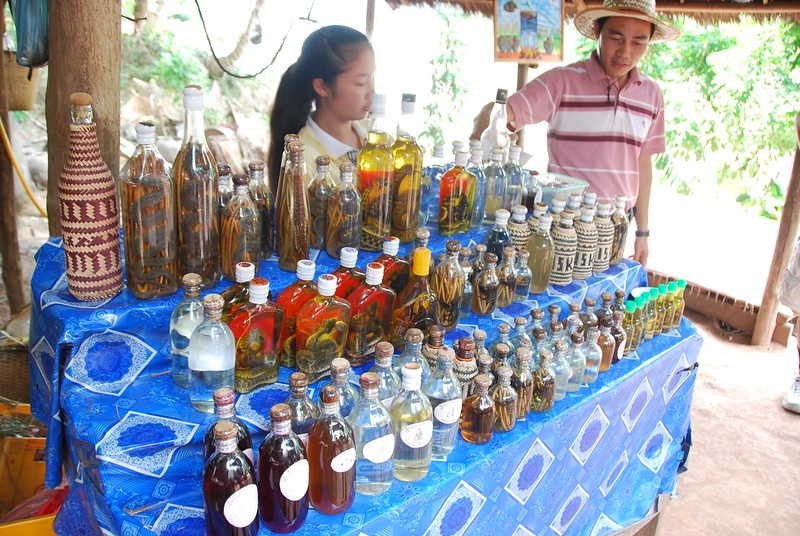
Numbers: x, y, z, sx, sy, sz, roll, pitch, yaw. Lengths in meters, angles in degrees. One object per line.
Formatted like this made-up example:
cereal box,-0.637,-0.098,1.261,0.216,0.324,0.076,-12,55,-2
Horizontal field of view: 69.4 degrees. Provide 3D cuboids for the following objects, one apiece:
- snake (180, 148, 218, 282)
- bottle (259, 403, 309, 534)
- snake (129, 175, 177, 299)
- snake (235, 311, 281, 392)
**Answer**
snake,-0.864,-0.205,2.443,0.155,0.600,0.075,-5,17,-29
bottle,-0.420,0.727,2.109,0.176,0.522,0.114,-6,18,-32
snake,-1.041,-0.114,2.403,0.188,0.523,0.101,-3,16,-23
snake,-0.606,0.309,2.424,0.232,0.422,0.088,-13,28,-41
